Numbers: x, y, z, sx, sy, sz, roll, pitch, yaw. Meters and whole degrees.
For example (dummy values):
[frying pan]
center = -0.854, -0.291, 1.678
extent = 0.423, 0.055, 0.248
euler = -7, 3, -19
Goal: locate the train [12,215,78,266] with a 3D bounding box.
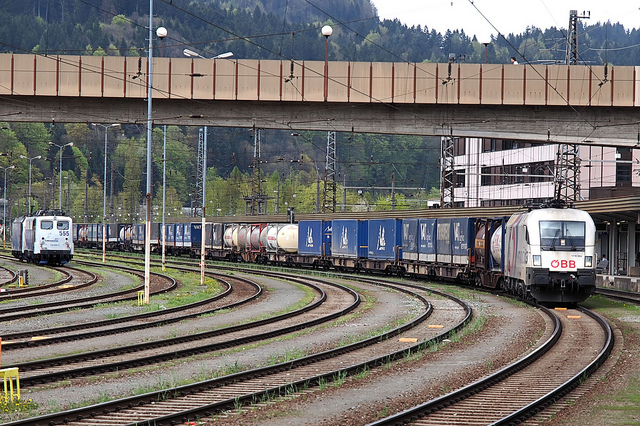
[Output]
[train]
center = -23.629, 2.104, 87.600
extent = 3.162, 4.020, 11.532
euler = 1, -3, -26
